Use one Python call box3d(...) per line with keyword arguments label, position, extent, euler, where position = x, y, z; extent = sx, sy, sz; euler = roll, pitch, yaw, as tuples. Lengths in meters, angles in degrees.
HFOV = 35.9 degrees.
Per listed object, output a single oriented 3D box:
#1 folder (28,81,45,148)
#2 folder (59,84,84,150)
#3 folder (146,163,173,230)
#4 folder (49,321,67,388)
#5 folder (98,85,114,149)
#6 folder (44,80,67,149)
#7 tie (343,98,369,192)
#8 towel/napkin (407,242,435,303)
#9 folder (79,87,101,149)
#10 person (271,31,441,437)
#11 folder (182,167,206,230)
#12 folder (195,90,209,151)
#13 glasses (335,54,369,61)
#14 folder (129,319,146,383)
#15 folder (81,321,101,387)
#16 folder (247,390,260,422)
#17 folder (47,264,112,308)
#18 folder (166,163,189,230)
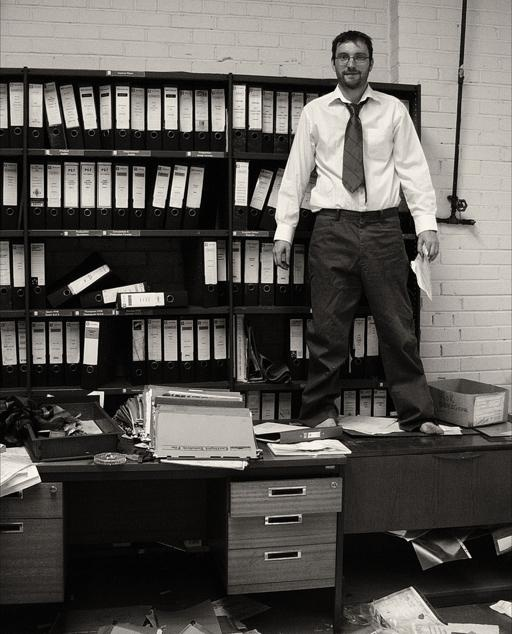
box3d(label="folder", position=(-0.844, -0.757, 3.021), extent=(0.067, 0.223, 0.209), euler=(0, 7, -4))
box3d(label="folder", position=(-0.715, -0.754, 3.045), extent=(0.079, 0.263, 0.222), euler=(-8, 5, -9))
box3d(label="folder", position=(-0.379, -0.459, 3.127), extent=(0.080, 0.270, 0.230), euler=(6, 0, -13))
box3d(label="folder", position=(-0.798, 0.139, 3.140), extent=(0.056, 0.284, 0.088), euler=(-4, 27, -21))
box3d(label="folder", position=(-0.580, -0.761, 3.056), extent=(0.039, 0.188, 0.169), euler=(0, 5, -8))
box3d(label="folder", position=(-0.771, -0.766, 3.041), extent=(0.079, 0.265, 0.227), euler=(-6, 4, -8))
box3d(label="tie", position=(0.352, -0.611, 2.902), extent=(0.077, 0.323, 0.084), euler=(-1, 4, 7))
box3d(label="towel/napkin", position=(0.640, -0.174, 3.095), extent=(0.065, 0.169, 0.168), euler=(-6, 26, 34))
box3d(label="folder", position=(-0.645, -0.748, 3.050), extent=(0.070, 0.232, 0.213), euler=(-7, 1, -3))
box3d(label="person", position=(0.367, -0.304, 2.923), extent=(0.608, 1.439, 0.249), euler=(-1, 4, 4))
box3d(label="folder", position=(-0.254, -0.473, 3.162), extent=(0.068, 0.246, 0.210), euler=(3, 9, -1))
box3d(label="folder", position=(-0.218, -0.765, 3.116), extent=(0.066, 0.217, 0.206), euler=(-1, 3, -1))
box3d(label="glasses", position=(0.350, -0.926, 2.875), extent=(0.110, 0.028, 0.032), euler=(-1, 5, 4))
box3d(label="folder", position=(-0.471, 0.139, 3.143), extent=(0.066, 0.230, 0.220), euler=(-1, 3, -3))
box3d(label="folder", position=(-0.636, 0.145, 3.040), extent=(0.074, 0.252, 0.037), euler=(-2, 4, -6))
box3d(label="folder", position=(-0.012, 0.355, 3.185), extent=(0.058, 0.119, 0.118), euler=(0, 6, 2))
box3d(label="folder", position=(-0.692, -0.115, 3.070), extent=(0.169, 0.046, 0.175), euler=(-33, 4, 18))
box3d(label="folder", position=(-0.316, -0.471, 3.132), extent=(0.073, 0.266, 0.225), euler=(5, -2, -3))
